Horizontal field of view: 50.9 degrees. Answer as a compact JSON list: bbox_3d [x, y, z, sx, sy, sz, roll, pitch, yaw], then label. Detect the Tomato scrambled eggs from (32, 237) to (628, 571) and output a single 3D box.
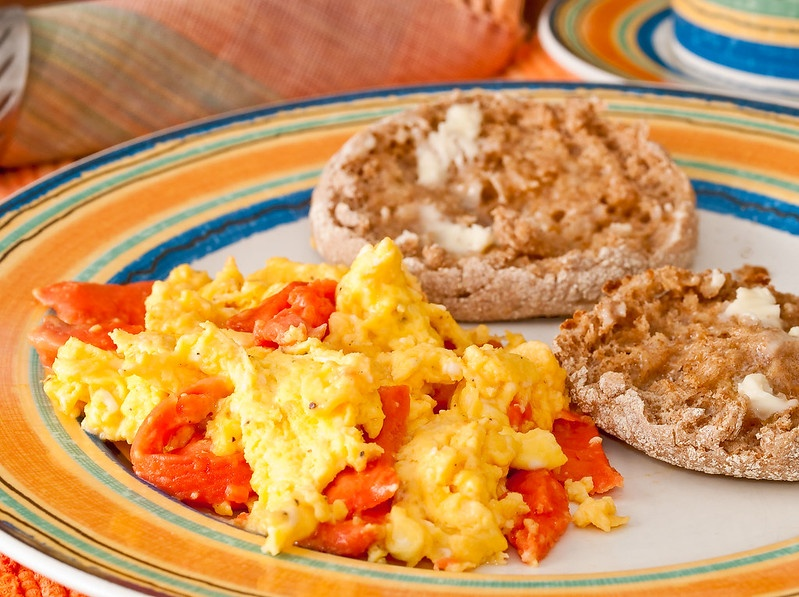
[{"bbox_3d":[-0.161,0.315,2.147,1.261,0.908,0.403,9,-67,6],"label":"Tomato scrambled eggs"}]
